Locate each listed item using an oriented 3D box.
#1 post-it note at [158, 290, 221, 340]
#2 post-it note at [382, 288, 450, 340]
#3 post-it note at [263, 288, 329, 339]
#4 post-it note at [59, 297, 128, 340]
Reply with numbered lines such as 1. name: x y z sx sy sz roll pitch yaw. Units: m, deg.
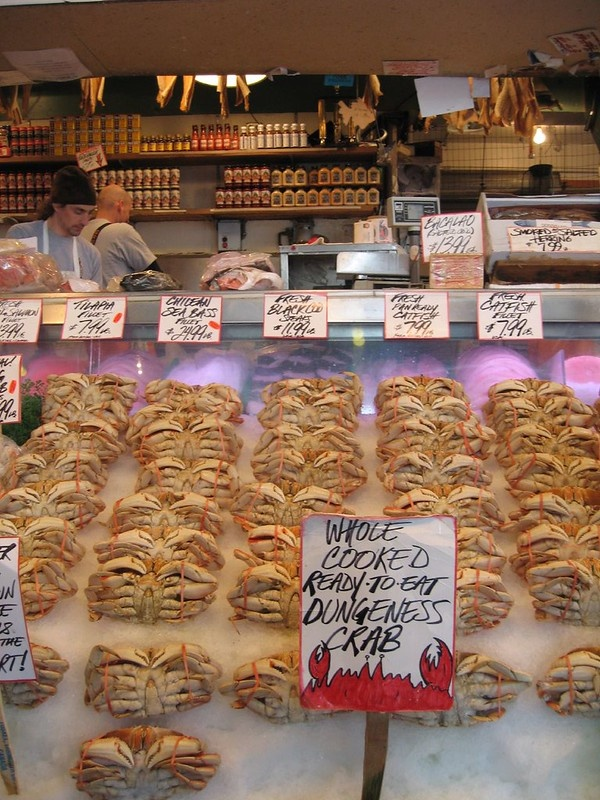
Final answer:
1. post-it note: -0.270 -0.205 1.543 0.133 0.106 0.013 0 -13 3
2. post-it note: 0.277 -0.207 1.522 0.129 0.087 0.017 0 -6 2
3. post-it note: -0.011 -0.206 1.522 0.127 0.093 0.016 0 -12 5
4. post-it note: -0.517 -0.207 1.575 0.116 0.077 0.006 -1 -13 0
